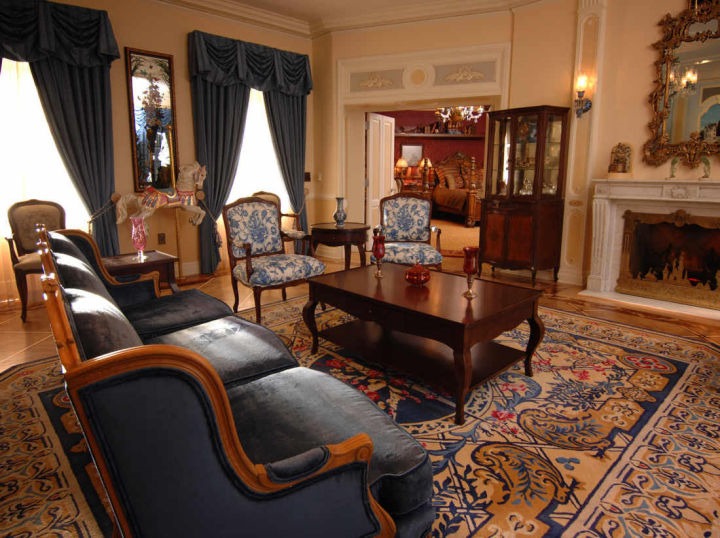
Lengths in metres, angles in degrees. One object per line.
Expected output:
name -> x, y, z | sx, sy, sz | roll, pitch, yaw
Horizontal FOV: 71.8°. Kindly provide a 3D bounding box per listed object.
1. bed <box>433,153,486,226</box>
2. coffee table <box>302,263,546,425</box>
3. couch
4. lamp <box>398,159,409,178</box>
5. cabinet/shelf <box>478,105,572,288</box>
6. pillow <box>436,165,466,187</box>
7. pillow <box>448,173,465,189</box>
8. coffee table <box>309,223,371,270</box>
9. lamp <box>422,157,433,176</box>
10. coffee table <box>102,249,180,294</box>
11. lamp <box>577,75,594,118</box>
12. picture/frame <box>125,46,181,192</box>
bed -> 2.527, -1.808, 11.074 | 1.318, 1.240, 1.955 | -4, 22, -9
coffee table -> 0.627, 0.215, 3.304 | 1.013, 0.601, 1.347 | -11, 15, -41
couch -> -0.872, 0.394, 2.664 | 1.229, 1.226, 2.563 | -10, 15, -31
lamp -> 1.066, -2.495, 12.170 | 0.216, 0.474, 0.245 | 11, 19, 43
cabinet/shelf -> 1.793, -0.798, 5.487 | 0.876, 1.905, 0.595 | 2, 15, 16
pillow -> 2.159, -2.156, 11.629 | 0.636, 0.534, 0.182 | 3, -32, -13
pillow -> 2.234, -2.038, 11.494 | 0.454, 0.385, 0.131 | 7, -17, -28
coffee table -> -0.137, -0.341, 5.128 | 0.551, 0.593, 0.600 | 8, 14, 35
lamp -> 1.626, -2.507, 12.045 | 0.355, 0.425, 0.338 | 2, 16, 1
coffee table -> -1.739, -0.017, 3.931 | 0.465, 0.276, 0.473 | 10, 17, 35
lamp -> 2.352, -1.839, 5.223 | 0.178, 0.446, 0.167 | -4, 14, -5
picture/frame -> -2.248, -1.622, 5.435 | 0.145, 1.480, 0.617 | 8, 17, 35
